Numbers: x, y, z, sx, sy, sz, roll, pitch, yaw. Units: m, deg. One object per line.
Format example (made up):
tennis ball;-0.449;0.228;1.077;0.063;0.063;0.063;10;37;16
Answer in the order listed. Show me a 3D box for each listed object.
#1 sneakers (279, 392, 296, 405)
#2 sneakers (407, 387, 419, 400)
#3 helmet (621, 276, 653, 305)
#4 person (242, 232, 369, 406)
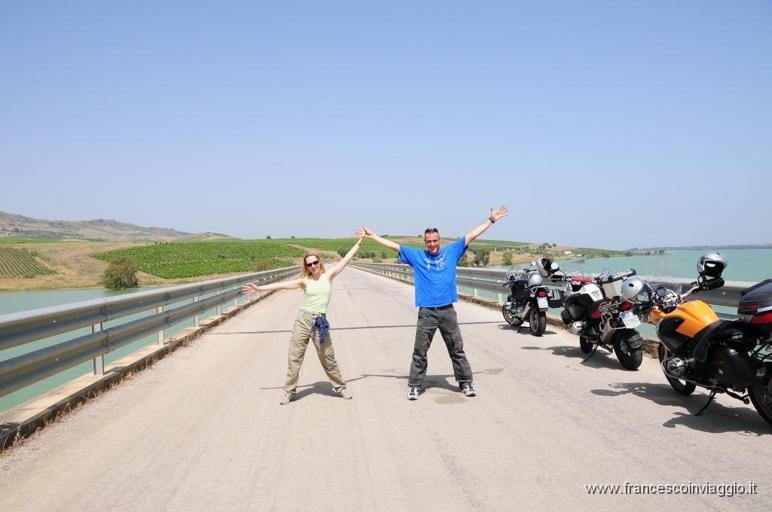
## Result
sneakers;-1.455;2.083;6.468;0.212;0.147;0.377;-1;3;-6
sneakers;0.428;2.054;6.590;0.210;0.156;0.344;-1;3;3
helmet;4.194;0.560;7.330;0.561;0.344;0.506;0;-25;31
person;-1.116;1.052;6.686;1.030;2.196;0.842;-2;5;-8
